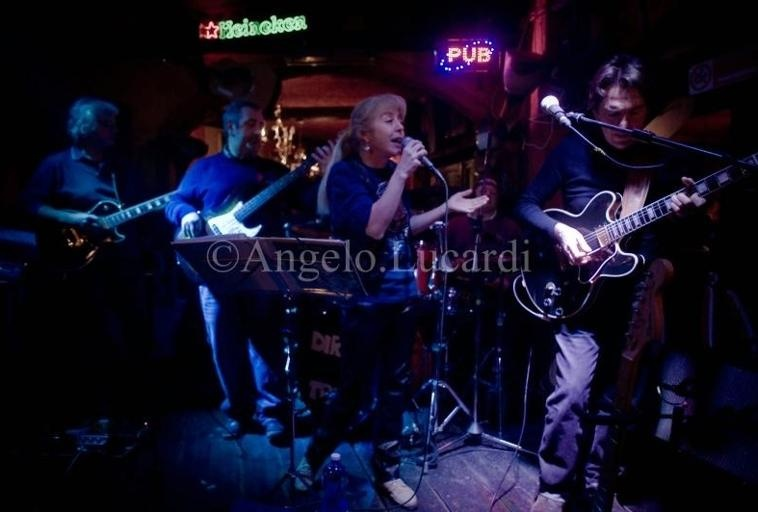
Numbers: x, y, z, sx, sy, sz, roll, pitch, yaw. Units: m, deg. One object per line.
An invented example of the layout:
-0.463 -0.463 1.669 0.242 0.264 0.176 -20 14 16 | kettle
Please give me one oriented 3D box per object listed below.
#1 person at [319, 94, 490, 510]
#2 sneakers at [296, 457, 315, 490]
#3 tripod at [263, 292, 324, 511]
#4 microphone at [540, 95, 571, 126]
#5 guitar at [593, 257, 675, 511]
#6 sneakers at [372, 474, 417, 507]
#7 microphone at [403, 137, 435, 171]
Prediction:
-0.043 0.313 4.496 0.761 2.882 0.388 4 6 -7 | person
-0.559 1.635 4.740 0.153 0.220 0.195 0 1 -19 | sneakers
-0.673 1.001 4.729 0.207 1.512 0.727 4 6 -8 | tripod
1.233 -1.013 4.440 0.203 0.233 0.297 6 5 13 | microphone
1.682 0.859 4.255 0.261 1.701 0.516 9 7 37 | guitar
0.114 1.686 4.571 0.286 0.116 0.144 6 9 31 | sneakers
0.277 -0.701 4.392 0.251 0.233 0.203 5 5 -1 | microphone
